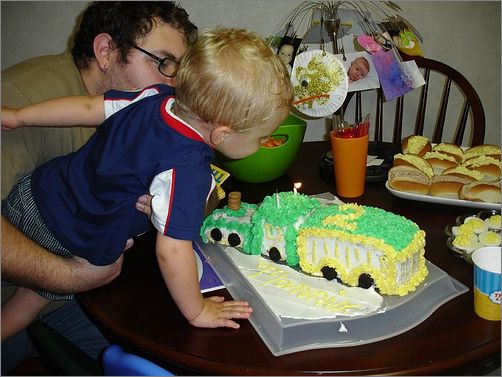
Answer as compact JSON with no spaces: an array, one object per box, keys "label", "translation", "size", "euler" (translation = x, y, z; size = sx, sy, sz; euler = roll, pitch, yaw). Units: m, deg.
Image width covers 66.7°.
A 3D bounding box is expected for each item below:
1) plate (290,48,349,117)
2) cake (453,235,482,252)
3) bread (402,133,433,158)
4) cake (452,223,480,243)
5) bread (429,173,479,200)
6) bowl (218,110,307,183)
[{"label":"plate","translation":[0.258,-0.449,1.526],"size":[0.277,0.048,0.282],"euler":[-2,66,36]},{"label":"cake","translation":[0.581,0.148,1.030],"size":[0.052,0.028,0.043],"euler":[3,48,27]},{"label":"bread","translation":[0.668,-0.174,1.532],"size":[0.104,0.059,0.107],"euler":[4,49,17]},{"label":"cake","translation":[0.600,0.120,1.070],"size":[0.041,0.024,0.046],"euler":[-27,31,3]},{"label":"bread","translation":[0.682,-0.010,1.286],"size":[0.118,0.040,0.084],"euler":[1,48,10]},{"label":"bowl","translation":[0.044,-0.180,1.430],"size":[0.274,0.169,0.280],"euler":[-8,12,2]}]
